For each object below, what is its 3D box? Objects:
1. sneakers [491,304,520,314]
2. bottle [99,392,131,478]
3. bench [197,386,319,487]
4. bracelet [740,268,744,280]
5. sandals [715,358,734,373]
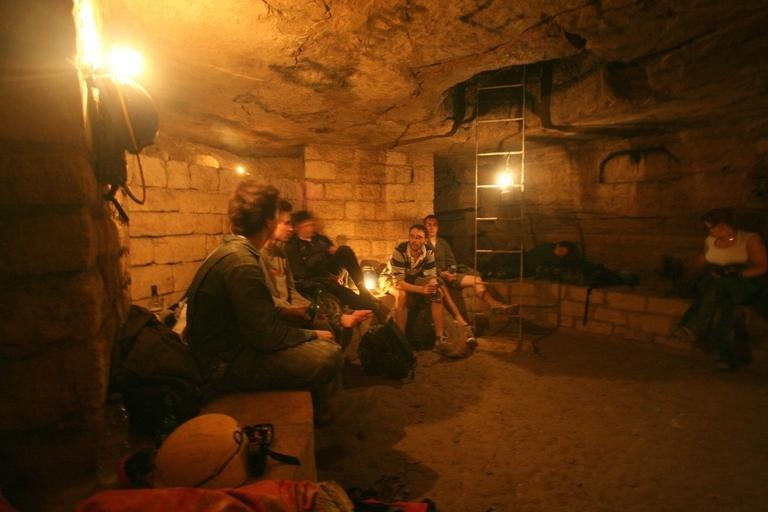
[{"bbox_3d":[1.736,0.774,8.414,0.179,0.131,0.438,10,-7,-44],"label":"sneakers"},{"bbox_3d":[-2.057,1.336,4.480,0.204,0.510,0.227,-2,6,-14],"label":"bottle"},{"bbox_3d":[-1.015,1.413,4.720,0.827,0.177,0.788,0,27,-16],"label":"bench"},{"bbox_3d":[4.414,0.226,7.206,0.045,0.090,0.059,2,6,21],"label":"bracelet"},{"bbox_3d":[4.110,1.315,7.060,0.209,0.059,0.142,-14,14,-33],"label":"sandals"}]
